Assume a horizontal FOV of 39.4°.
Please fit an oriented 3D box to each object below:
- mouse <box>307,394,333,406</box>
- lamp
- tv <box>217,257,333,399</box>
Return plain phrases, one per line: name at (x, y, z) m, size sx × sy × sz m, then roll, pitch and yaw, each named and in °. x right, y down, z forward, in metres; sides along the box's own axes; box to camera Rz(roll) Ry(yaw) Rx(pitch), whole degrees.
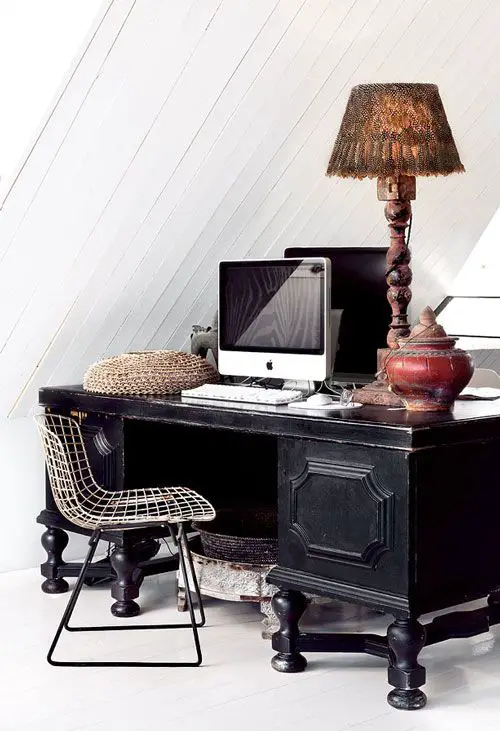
mouse at (0.168, 0.080, 1.703) m, size 0.036 × 0.011 × 0.035 m, roll 3°, pitch 20°, yaw 17°
lamp at (0.396, -0.294, 1.694) m, size 0.301 × 0.803 × 0.401 m, roll 1°, pitch -4°, yaw -24°
tv at (0.074, -0.111, 1.982) m, size 0.046 × 0.363 × 0.427 m, roll 1°, pitch -3°, yaw -43°
